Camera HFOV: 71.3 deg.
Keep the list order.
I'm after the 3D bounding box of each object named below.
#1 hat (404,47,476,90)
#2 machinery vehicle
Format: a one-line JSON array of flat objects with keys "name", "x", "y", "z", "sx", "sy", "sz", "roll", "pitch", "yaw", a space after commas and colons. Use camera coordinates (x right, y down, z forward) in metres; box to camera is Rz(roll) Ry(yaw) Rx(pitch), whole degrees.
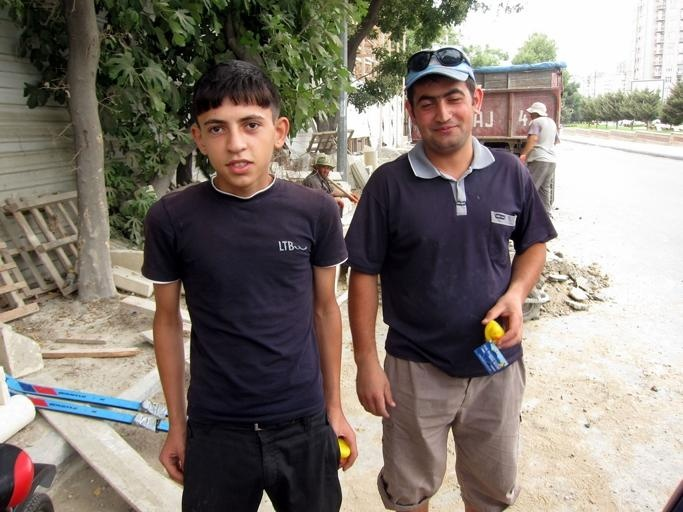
[{"name": "hat", "x": 0.532, "y": -1.021, "z": 2.493, "sx": 0.356, "sy": 0.129, "sz": 0.424, "roll": -2, "pitch": 24, "yaw": 12}, {"name": "machinery vehicle", "x": 5.638, "y": -4.783, "z": 17.982, "sx": 6.430, "sy": 5.013, "sz": 3.870, "roll": -1, "pitch": 10, "yaw": 4}]
